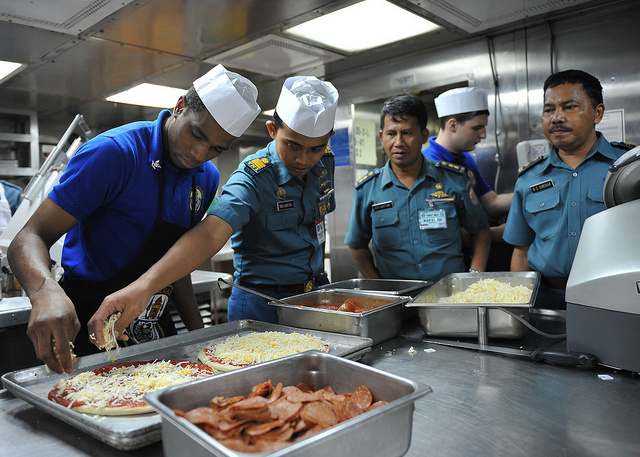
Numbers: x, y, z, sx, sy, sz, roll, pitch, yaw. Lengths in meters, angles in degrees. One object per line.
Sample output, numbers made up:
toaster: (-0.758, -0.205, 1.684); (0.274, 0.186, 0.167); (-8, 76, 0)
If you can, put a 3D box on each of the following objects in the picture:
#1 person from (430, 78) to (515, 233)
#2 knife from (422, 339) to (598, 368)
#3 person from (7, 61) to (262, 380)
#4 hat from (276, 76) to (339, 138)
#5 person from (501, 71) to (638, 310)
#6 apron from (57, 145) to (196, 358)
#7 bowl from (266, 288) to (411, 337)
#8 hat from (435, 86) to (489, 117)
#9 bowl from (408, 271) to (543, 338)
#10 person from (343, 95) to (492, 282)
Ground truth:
person: (1.080, -0.491, 3.072); (0.535, 1.015, 0.679); (-7, 30, 27)
knife: (0.727, 0.472, 1.664); (0.496, 0.043, 0.090); (3, 0, 23)
person: (-0.783, -0.049, 1.823); (0.637, 1.207, 0.906); (10, 16, 42)
hat: (-0.069, -0.575, 2.084); (0.265, 0.297, 0.340); (2, 12, 15)
person: (1.264, -0.184, 2.286); (0.540, 1.203, 0.394); (4, 12, 22)
apron: (-0.812, 0.099, 1.907); (0.581, 0.891, 0.393); (-8, 13, -31)
bowl: (0.057, 0.363, 1.917); (0.332, 0.085, 0.324); (0, 0, 0)
hat: (1.002, -0.831, 3.141); (0.245, 0.139, 0.256); (-11, 6, -4)
bowl: (0.722, 0.346, 2.005); (0.466, 0.236, 0.691); (5, 13, 27)
person: (0.593, -0.233, 2.682); (0.892, 1.096, 0.425); (2, 12, 13)
